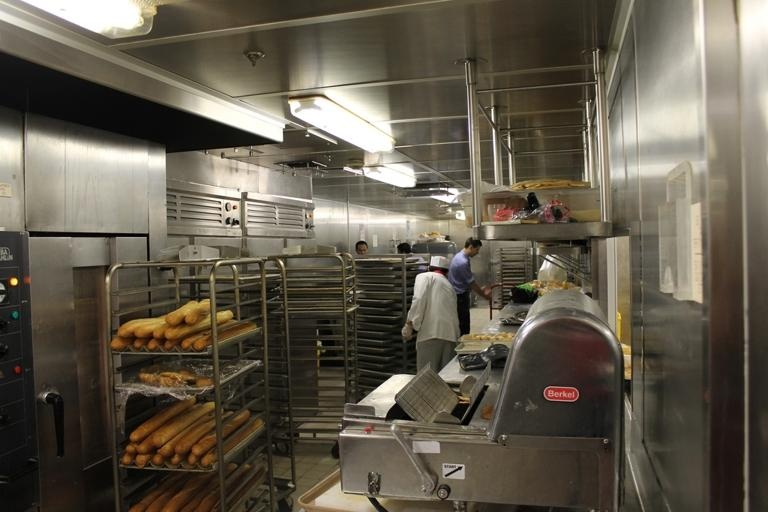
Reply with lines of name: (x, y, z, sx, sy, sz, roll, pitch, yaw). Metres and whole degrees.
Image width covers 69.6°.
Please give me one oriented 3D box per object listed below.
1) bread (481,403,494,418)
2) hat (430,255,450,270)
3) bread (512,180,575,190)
bread: (0.469, 0.697, 2.474, 0.071, 0.022, 0.078, 12, 14, 26)
hat: (0.626, 0.082, 6.215, 0.185, 0.116, 0.139, -1, 0, 11)
bread: (0.852, -0.375, 2.942, 0.321, 0.063, 0.191, -2, 3, 13)
